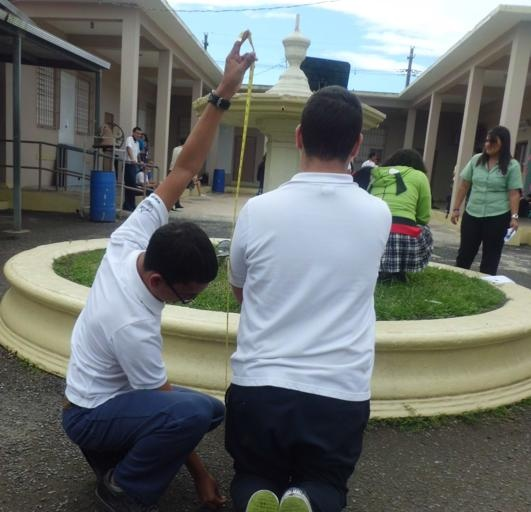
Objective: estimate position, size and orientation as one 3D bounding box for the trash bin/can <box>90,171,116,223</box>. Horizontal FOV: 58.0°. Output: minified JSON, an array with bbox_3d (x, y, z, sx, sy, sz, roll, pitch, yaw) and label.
[{"bbox_3d":[-2.991,-1.174,8.892,0.518,0.979,0.546,20,18,36],"label":"trash bin/can"}]

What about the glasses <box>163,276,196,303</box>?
[{"bbox_3d":[-0.287,0.120,1.594,0.022,0.082,0.076,-31,-3,1],"label":"glasses"}]

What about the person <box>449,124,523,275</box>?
[{"bbox_3d":[2.201,-0.549,4.829,0.653,1.493,0.413,13,16,42],"label":"person"}]

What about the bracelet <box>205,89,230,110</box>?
[{"bbox_3d":[-0.181,-0.569,1.823,0.082,0.061,0.079,16,3,-20],"label":"bracelet"}]
